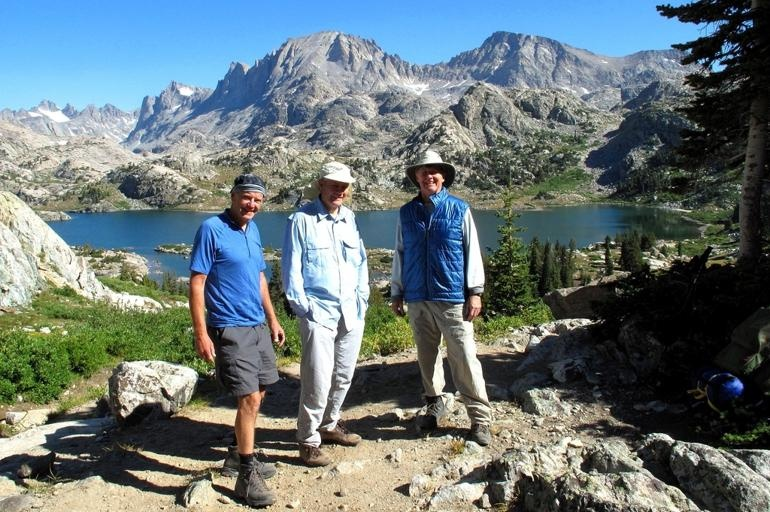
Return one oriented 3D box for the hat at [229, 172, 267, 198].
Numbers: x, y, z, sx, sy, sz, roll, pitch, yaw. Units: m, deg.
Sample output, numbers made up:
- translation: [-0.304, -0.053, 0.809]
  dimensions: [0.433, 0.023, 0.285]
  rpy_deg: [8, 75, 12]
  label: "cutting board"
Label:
- translation: [-2.279, -1.222, 9.625]
  dimensions: [0.484, 0.279, 0.474]
  rpy_deg: [-2, 7, -36]
  label: "hat"
